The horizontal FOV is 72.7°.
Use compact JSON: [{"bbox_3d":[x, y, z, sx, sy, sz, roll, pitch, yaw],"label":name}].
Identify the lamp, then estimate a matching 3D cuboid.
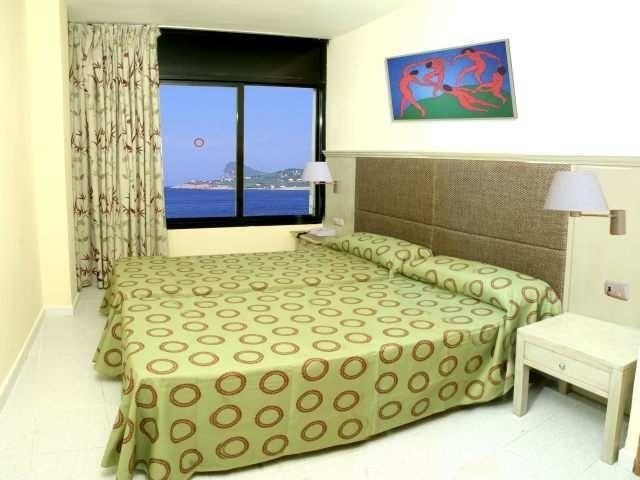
[{"bbox_3d":[1.695,-0.230,2.818,0.494,0.414,0.401,3,10,25],"label":"lamp"}]
